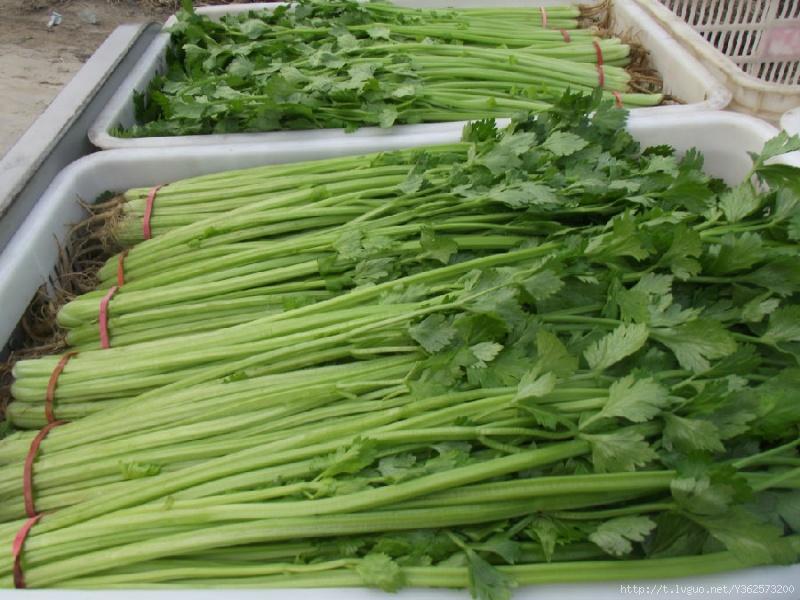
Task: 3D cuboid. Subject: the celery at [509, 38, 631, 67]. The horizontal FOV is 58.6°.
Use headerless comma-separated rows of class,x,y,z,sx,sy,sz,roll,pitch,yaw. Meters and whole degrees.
celery,0.993,-1.480,4.294,0.853,0.138,0.197,0,4,-4
